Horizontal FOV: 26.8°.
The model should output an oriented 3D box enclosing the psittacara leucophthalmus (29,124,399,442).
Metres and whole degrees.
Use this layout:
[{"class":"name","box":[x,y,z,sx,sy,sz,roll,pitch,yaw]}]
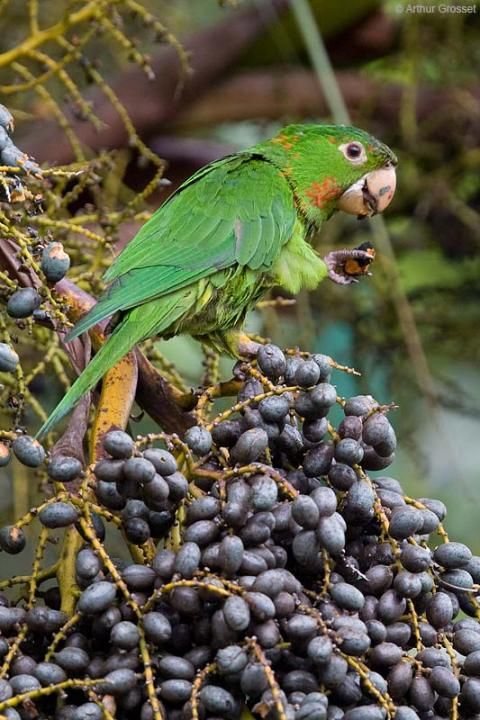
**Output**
[{"class":"psittacara leucophthalmus","box":[-0.048,-0.113,1.381,0.618,0.378,0.184,-10,4,-36]}]
